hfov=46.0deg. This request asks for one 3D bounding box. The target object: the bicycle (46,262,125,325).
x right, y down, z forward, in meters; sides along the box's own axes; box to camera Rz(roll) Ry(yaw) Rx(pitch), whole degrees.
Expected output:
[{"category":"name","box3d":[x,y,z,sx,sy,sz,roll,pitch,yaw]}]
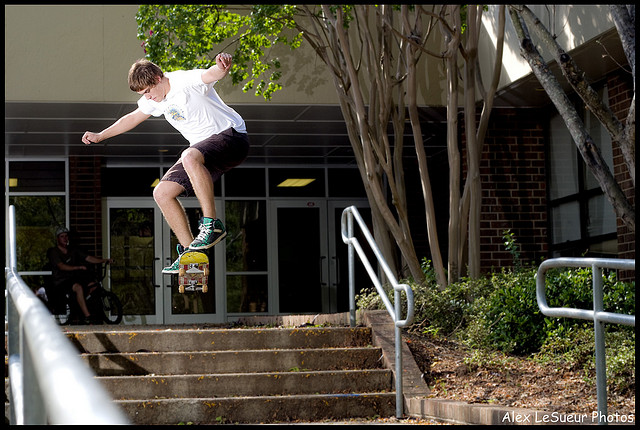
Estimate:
[{"category":"bicycle","box3d":[-5.180,1.697,16.538,1.908,1.328,1.101,4,11,12]}]

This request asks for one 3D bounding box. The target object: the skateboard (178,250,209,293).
[{"category":"skateboard","box3d":[-1.597,0.680,9.332,0.413,0.502,0.747,1,8,-14]}]
